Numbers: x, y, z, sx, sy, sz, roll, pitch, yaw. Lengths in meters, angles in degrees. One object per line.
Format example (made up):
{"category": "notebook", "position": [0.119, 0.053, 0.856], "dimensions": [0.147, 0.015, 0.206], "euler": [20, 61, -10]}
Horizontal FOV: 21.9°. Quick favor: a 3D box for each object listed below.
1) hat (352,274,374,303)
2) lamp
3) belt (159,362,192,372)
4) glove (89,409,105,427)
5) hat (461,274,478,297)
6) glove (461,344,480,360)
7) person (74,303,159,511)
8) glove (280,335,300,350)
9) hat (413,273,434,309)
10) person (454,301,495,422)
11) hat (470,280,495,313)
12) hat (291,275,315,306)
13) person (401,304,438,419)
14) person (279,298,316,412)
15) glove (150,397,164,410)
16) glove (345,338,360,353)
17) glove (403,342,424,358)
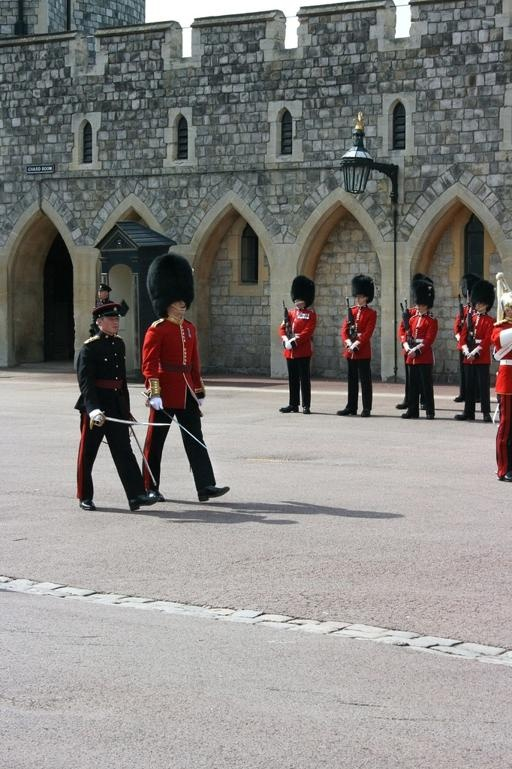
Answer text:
{"category": "hat", "position": [1.164, -1.036, 14.156], "dimensions": [0.222, 0.303, 0.299], "euler": [-1, -4, 7]}
{"category": "lamp", "position": [1.484, -2.749, 17.137], "dimensions": [0.880, 1.209, 0.346], "euler": [1, -1, -35]}
{"category": "belt", "position": [-0.496, -0.105, 8.200], "dimensions": [0.183, 0.060, 0.064], "euler": [0, 1, -36]}
{"category": "glove", "position": [-0.942, 0.199, 7.828], "dimensions": [0.059, 0.079, 0.106], "euler": [-10, 6, -19]}
{"category": "hat", "position": [2.416, -1.133, 14.963], "dimensions": [0.155, 0.227, 0.532], "euler": [0, 0, 12]}
{"category": "glove", "position": [2.177, -0.319, 13.211], "dimensions": [0.123, 0.164, 0.058], "euler": [-1, -3, 30]}
{"category": "person", "position": [-0.869, 0.125, 8.041], "dimensions": [0.465, 1.237, 0.596], "euler": [0, 1, -9]}
{"category": "glove", "position": [0.374, -0.433, 13.959], "dimensions": [0.110, 0.154, 0.055], "euler": [-2, -11, 26]}
{"category": "hat", "position": [1.811, -0.980, 14.281], "dimensions": [0.281, 0.369, 0.455], "euler": [2, -5, 3]}
{"category": "person", "position": [2.202, -0.224, 13.232], "dimensions": [0.368, 1.163, 0.737], "euler": [1, 1, 10]}
{"category": "hat", "position": [2.323, -0.893, 13.259], "dimensions": [0.213, 0.277, 0.302], "euler": [5, 5, -8]}
{"category": "hat", "position": [0.510, -1.004, 14.406], "dimensions": [0.235, 0.347, 0.114], "euler": [6, 1, 2]}
{"category": "person", "position": [1.677, -0.244, 13.627], "dimensions": [0.365, 1.156, 0.916], "euler": [1, 1, 6]}
{"category": "person", "position": [0.440, -0.272, 14.035], "dimensions": [0.358, 1.138, 0.638], "euler": [0, 1, 0]}
{"category": "glove", "position": [-0.595, 0.119, 8.072], "dimensions": [0.057, 0.080, 0.081], "euler": [-5, -11, 34]}
{"category": "glove", "position": [1.019, -0.409, 13.782], "dimensions": [0.138, 0.145, 0.065], "euler": [0, -3, 14]}
{"category": "glove", "position": [1.624, -0.358, 13.584], "dimensions": [0.151, 0.149, 0.185], "euler": [0, -1, -30]}
